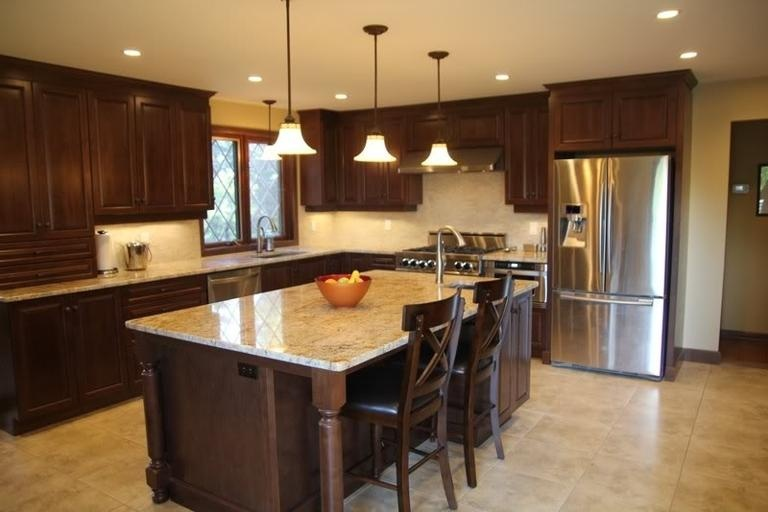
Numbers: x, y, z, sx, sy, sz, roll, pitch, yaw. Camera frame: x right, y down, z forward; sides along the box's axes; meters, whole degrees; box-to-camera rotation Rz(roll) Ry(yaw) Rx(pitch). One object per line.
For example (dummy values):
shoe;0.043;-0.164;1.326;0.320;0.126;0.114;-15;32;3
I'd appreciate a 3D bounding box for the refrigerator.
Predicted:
refrigerator;2.292;0.103;5.771;1.153;2.251;0.414;3;13;17

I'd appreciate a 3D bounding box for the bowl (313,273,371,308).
bowl;-0.293;0.266;4.312;0.456;0.242;0.462;0;6;0

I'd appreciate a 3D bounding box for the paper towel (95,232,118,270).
paper towel;-2.732;-0.018;5.596;0.254;0.356;0.264;-5;5;-17

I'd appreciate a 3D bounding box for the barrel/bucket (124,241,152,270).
barrel/bucket;-2.503;-0.007;5.703;0.229;0.298;0.293;0;-1;10

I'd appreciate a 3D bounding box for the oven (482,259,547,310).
oven;1.499;0.265;6.425;0.698;0.473;0.468;2;12;11

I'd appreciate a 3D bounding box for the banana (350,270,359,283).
banana;-0.225;0.154;4.254;0.061;0.086;0.030;3;-22;1

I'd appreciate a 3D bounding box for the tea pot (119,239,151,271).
tea pot;-2.494;-0.007;5.829;0.252;0.323;0.320;0;-1;13

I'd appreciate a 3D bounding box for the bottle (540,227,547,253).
bottle;1.854;-0.205;6.559;0.068;0.269;0.322;3;12;13
